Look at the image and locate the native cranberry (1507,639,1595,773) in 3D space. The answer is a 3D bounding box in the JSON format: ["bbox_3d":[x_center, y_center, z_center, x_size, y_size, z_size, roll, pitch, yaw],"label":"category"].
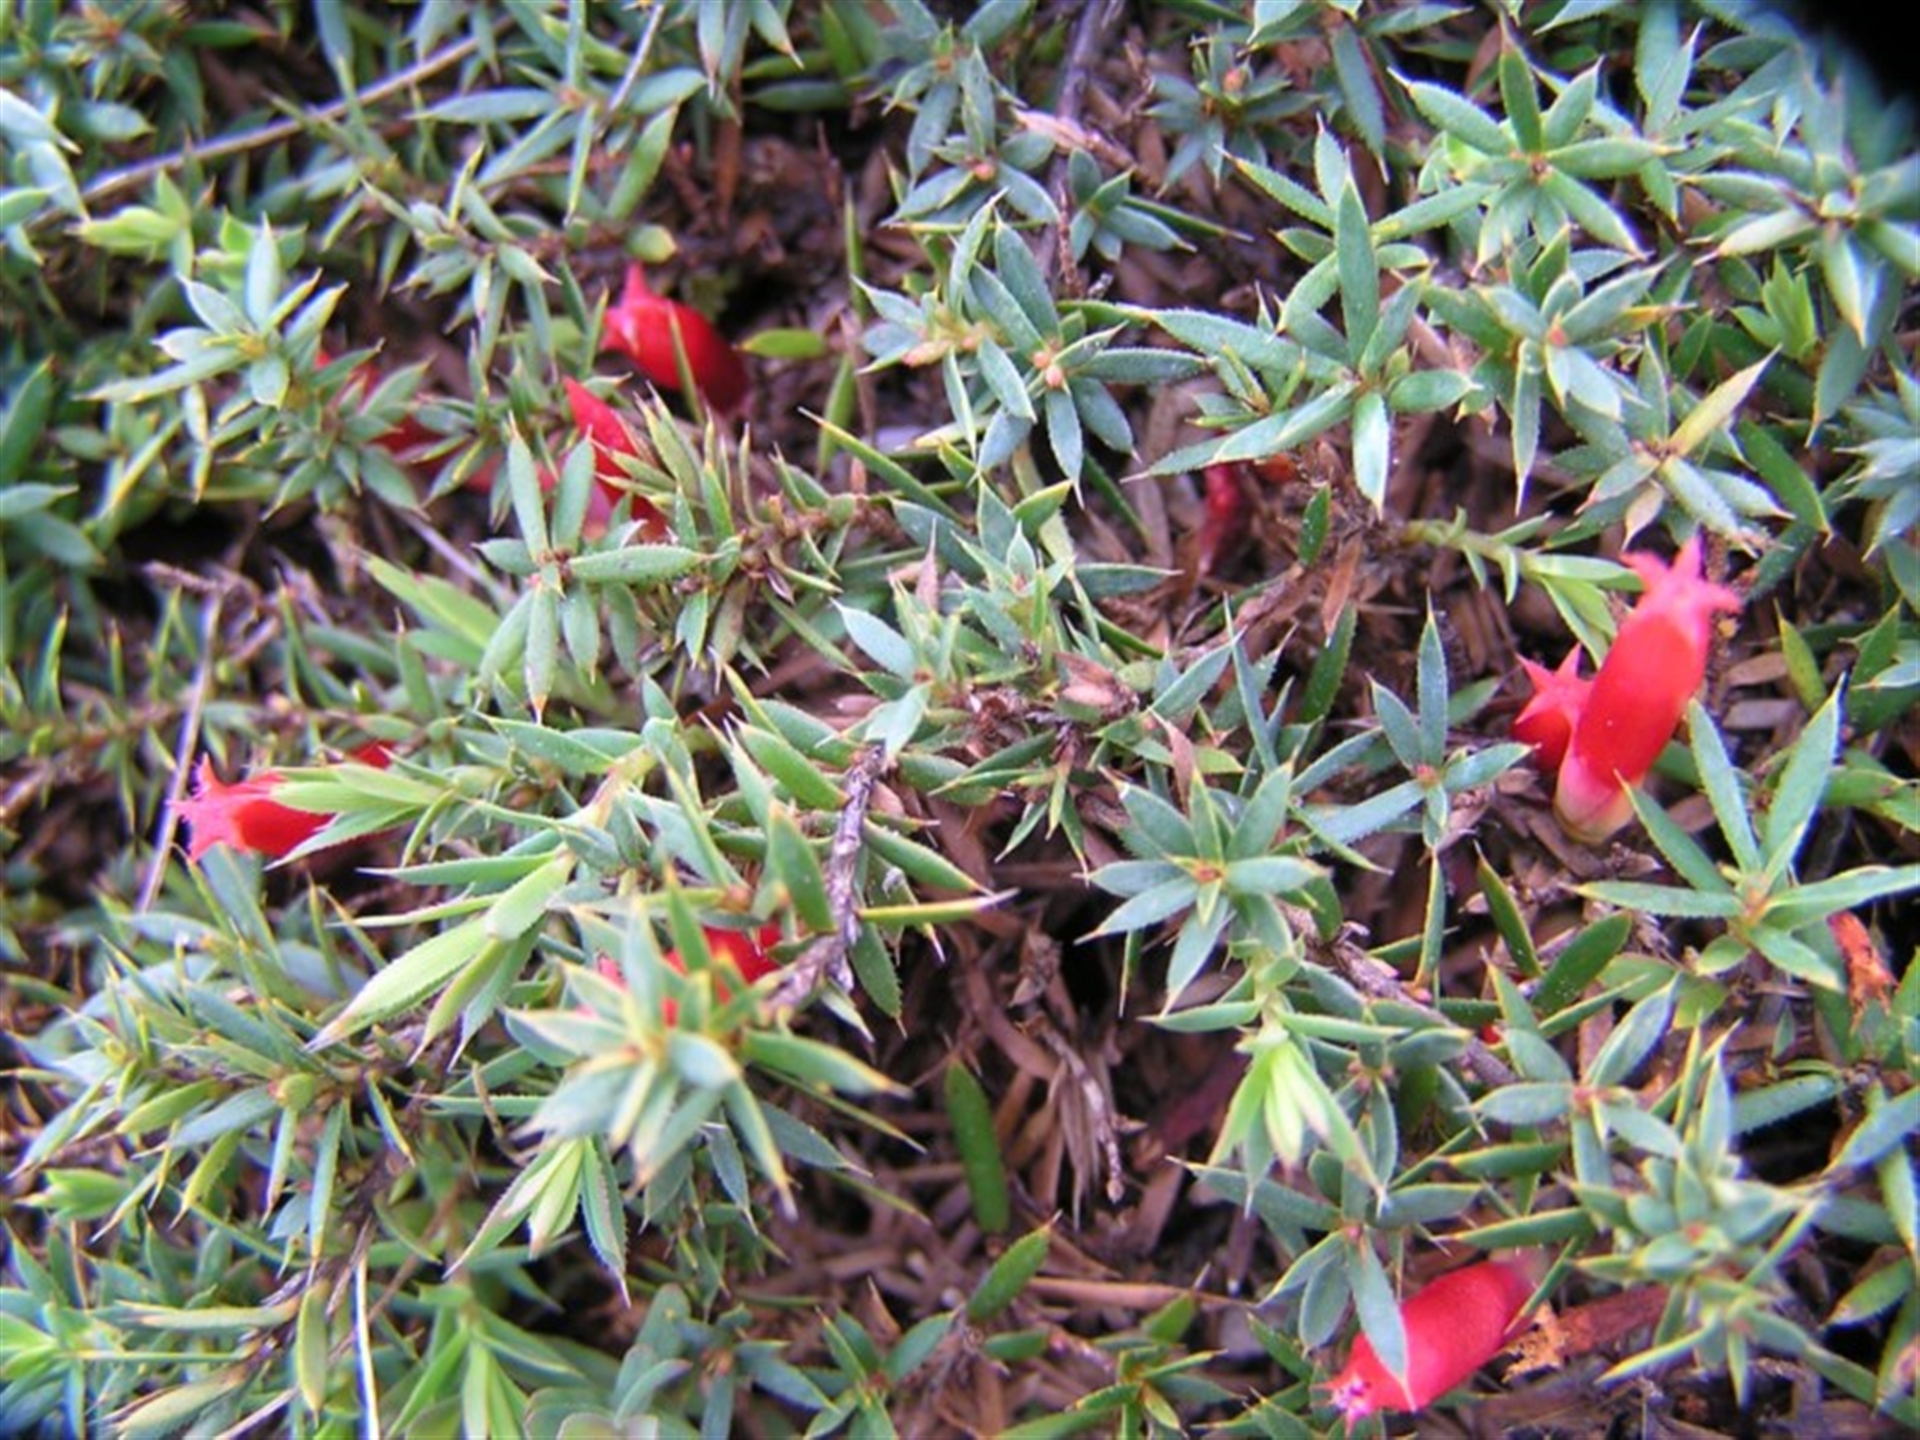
[{"bbox_3d":[0.737,-0.010,1.940,0.081,0.118,0.094,-22,63,5],"label":"native cranberry"}]

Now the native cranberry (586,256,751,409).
[{"bbox_3d":[-0.409,-0.533,2.271,0.229,0.133,0.170,39,82,-32],"label":"native cranberry"}]

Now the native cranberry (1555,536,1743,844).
[{"bbox_3d":[0.802,-0.031,1.814,0.140,0.328,0.155,-36,62,-17],"label":"native cranberry"}]

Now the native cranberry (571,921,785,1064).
[{"bbox_3d":[-0.262,0.257,1.448,0.119,0.044,0.159,-10,78,24],"label":"native cranberry"}]

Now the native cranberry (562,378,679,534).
[{"bbox_3d":[-0.461,-0.371,2.070,0.091,0.319,0.100,-13,83,2],"label":"native cranberry"}]
